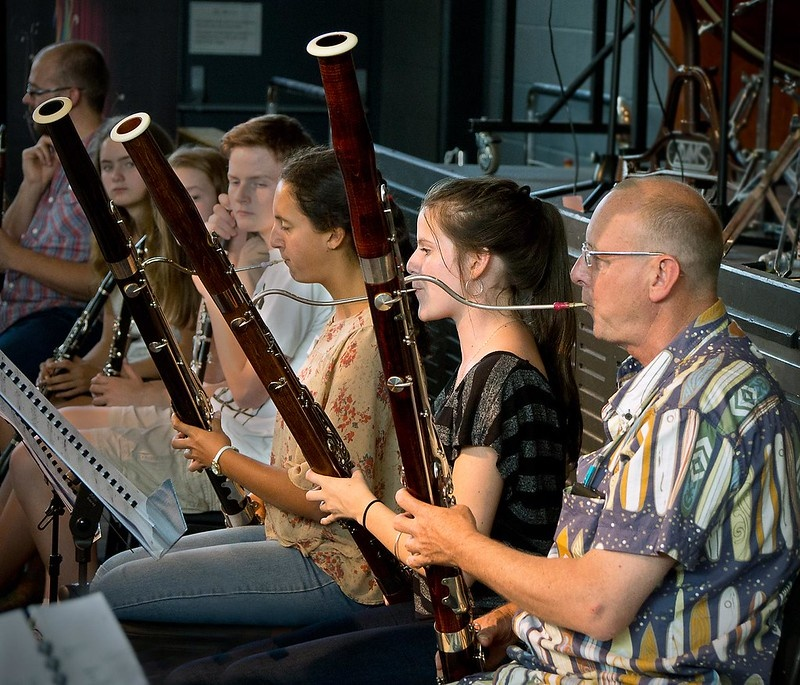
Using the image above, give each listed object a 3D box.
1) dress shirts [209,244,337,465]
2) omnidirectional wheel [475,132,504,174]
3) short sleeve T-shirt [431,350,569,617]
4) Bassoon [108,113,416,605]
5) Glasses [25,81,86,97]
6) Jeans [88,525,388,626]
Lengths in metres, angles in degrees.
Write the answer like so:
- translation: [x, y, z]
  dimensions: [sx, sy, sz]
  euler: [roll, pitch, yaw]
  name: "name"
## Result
- translation: [-0.355, 0.040, 2.720]
  dimensions: [0.186, 0.599, 0.423]
  euler: [8, -1, -8]
  name: "dress shirts"
- translation: [0.422, -0.977, 4.678]
  dimensions: [0.124, 0.262, 0.166]
  euler: [-5, 5, -39]
  name: "omnidirectional wheel"
- translation: [0.195, 0.208, 2.104]
  dimensions: [0.300, 0.589, 0.585]
  euler: [0, 1, -12]
  name: "short sleeve T-shirt"
- translation: [-0.351, 0.072, 2.263]
  dimensions: [0.219, 1.584, 0.203]
  euler: [-29, 20, -26]
  name: "Bassoon"
- translation: [-1.657, -1.175, 4.339]
  dimensions: [0.145, 0.051, 0.145]
  euler: [-2, 12, -5]
  name: "Glasses"
- translation: [-0.416, 0.570, 2.173]
  dimensions: [0.535, 0.166, 0.301]
  euler: [0, -11, 1]
  name: "Jeans"
